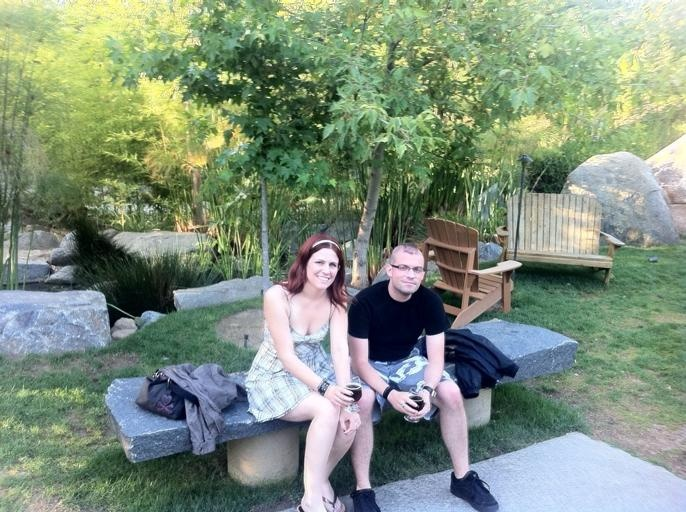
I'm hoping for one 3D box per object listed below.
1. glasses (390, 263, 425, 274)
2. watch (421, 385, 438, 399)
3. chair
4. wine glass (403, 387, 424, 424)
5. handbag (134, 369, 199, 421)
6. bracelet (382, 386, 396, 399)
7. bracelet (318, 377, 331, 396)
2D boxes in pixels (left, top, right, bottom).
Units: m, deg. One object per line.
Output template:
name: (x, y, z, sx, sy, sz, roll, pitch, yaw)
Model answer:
glasses: (0.446, 0.087, 3.389, 0.227, 0.074, 0.070, 1, 14, 5)
watch: (0.595, 0.928, 3.317, 0.045, 0.102, 0.074, 2, -5, -18)
chair: (1.598, 0.172, 6.475, 1.467, 1.294, 1.242, -10, 16, -39)
wine glass: (0.481, 1.040, 3.267, 0.121, 0.292, 0.216, -2, 14, -5)
handbag: (-1.176, 0.924, 3.199, 0.357, 0.302, 0.134, 34, -12, 12)
bracelet: (0.303, 0.915, 3.265, 0.056, 0.082, 0.081, 21, 13, 31)
bracelet: (-0.117, 0.851, 3.125, 0.070, 0.095, 0.046, 3, -18, 29)
